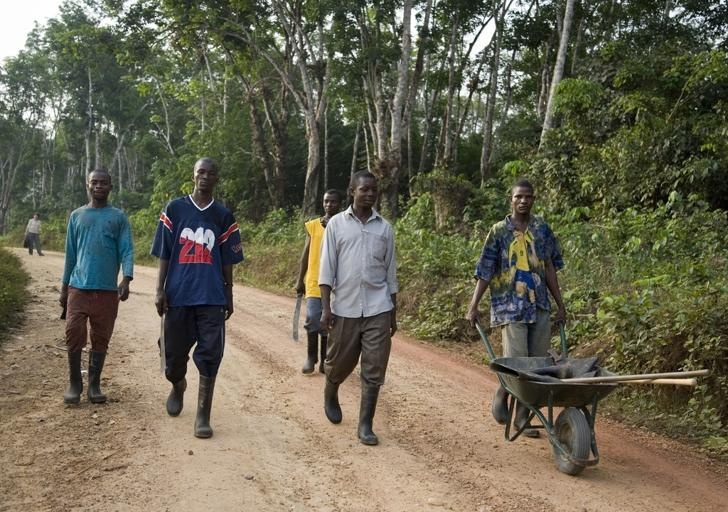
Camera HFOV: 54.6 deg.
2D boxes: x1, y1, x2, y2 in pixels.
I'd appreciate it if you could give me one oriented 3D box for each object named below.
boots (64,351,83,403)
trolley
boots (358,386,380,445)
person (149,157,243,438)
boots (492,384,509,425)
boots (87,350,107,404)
[{"bbox_3d":[-3.829,1.590,9.380,0.213,0.659,0.367,5,0,-21],"label":"boots"},{"bbox_3d":[2.316,1.694,9.160,1.386,1.512,2.887,-1,3,-5],"label":"trolley"},{"bbox_3d":[0.084,1.959,8.857,0.273,0.753,0.341,5,0,-4],"label":"boots"},{"bbox_3d":[-2.080,0.505,8.736,1.033,3.306,0.426,5,0,-11],"label":"person"},{"bbox_3d":[1.747,1.908,9.128,0.171,0.510,0.321,-2,-14,7],"label":"boots"},{"bbox_3d":[-3.561,1.602,9.481,0.257,0.653,0.491,5,0,-21],"label":"boots"}]
